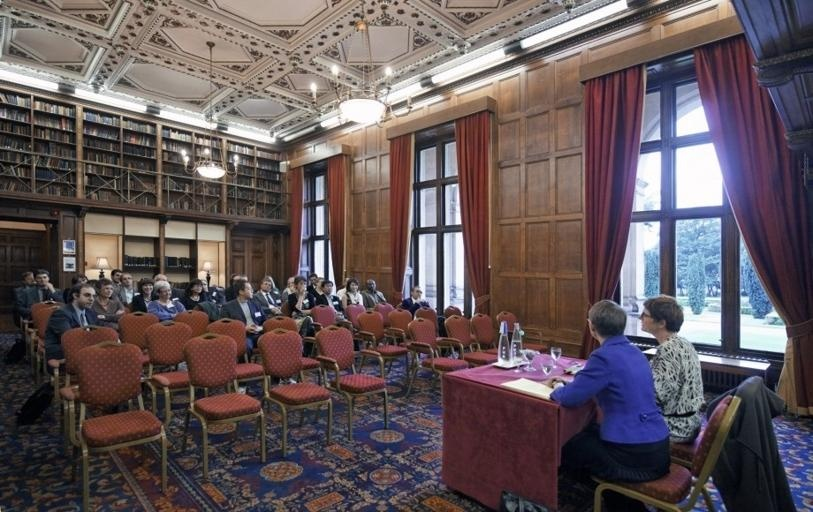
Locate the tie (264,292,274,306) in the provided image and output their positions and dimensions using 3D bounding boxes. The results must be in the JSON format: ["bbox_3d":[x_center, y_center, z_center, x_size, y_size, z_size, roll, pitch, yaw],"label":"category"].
[{"bbox_3d":[-2.759,0.877,10.898,0.098,0.124,0.411,-15,28,-22],"label":"tie"}]

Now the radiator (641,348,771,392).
[{"bbox_3d":[3.859,1.478,6.894,0.985,0.504,0.325,5,11,38],"label":"radiator"}]

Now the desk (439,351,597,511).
[{"bbox_3d":[1.356,1.933,6.508,1.428,1.315,1.696,-1,-3,39],"label":"desk"}]
